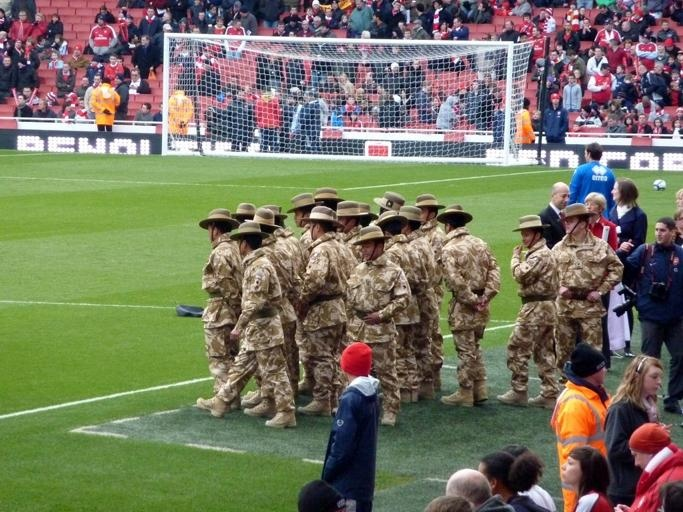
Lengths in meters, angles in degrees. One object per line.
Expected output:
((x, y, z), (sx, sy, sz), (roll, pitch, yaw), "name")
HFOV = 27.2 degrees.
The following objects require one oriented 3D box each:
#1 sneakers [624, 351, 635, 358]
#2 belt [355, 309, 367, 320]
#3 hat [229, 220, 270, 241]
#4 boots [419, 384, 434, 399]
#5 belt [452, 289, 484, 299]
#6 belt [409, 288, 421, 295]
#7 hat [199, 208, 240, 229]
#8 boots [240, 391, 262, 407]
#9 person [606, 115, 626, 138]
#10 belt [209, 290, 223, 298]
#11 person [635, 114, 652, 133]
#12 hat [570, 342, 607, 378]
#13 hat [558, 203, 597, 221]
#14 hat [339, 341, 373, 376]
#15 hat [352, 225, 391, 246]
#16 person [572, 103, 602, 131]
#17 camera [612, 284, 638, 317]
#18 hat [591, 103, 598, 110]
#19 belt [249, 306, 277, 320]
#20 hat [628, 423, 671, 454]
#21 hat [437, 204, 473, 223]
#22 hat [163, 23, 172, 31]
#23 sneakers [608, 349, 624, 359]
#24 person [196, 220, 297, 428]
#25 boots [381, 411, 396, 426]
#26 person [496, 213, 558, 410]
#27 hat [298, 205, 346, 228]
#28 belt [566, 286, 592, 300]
((4.619, 1.587, 22.615), (0.086, 0.062, 0.196), (-13, -6, -9), "sneakers")
((0.277, 0.823, 19.846), (0.148, 0.093, 0.137), (5, 8, 6), "belt")
((-1.278, -0.356, 19.655), (0.486, 0.256, 0.409), (0, 1, -4), "hat")
((1.245, 2.003, 20.875), (0.239, 0.196, 0.217), (2, -8, -21), "boots")
((1.837, 0.540, 20.523), (0.466, 0.116, 0.298), (0, 2, 4), "belt")
((1.094, 0.517, 20.678), (0.099, 0.060, 0.123), (3, 25, -4), "belt")
((-1.907, -0.578, 22.091), (0.533, 0.175, 0.544), (2, -12, -16), "hat")
((-1.285, 2.077, 20.501), (0.197, 0.121, 0.362), (5, 6, 43), "boots")
((7.416, -3.561, 38.071), (0.465, 0.636, 0.838), (1, 1, 12), "person")
((-1.798, 0.553, 20.264), (0.139, 0.091, 0.105), (3, -3, 27), "belt")
((8.169, -3.554, 37.995), (0.440, 0.544, 0.988), (1, 1, 11), "person")
((2.898, 1.237, 16.664), (0.398, 0.396, 0.199), (0, 1, 8), "hat")
((3.507, -0.645, 20.854), (0.437, 0.247, 0.528), (0, 1, 8), "hat")
((0.190, 1.221, 16.841), (0.398, 0.294, 0.302), (-6, 15, 31), "hat")
((0.393, -0.292, 19.714), (0.412, 0.273, 0.325), (0, 1, 1), "hat")
((6.970, -3.919, 39.847), (0.779, 0.766, 0.640), (1, 1, 12), "person")
((4.133, 0.662, 20.690), (0.438, 0.351, 0.159), (-24, 19, -21), "camera")
((7.170, -4.233, 39.914), (0.173, 0.234, 0.380), (1, 1, 15), "hat")
((-1.057, 0.789, 19.598), (0.252, 0.080, 0.177), (-23, 4, 5), "belt")
((3.488, 2.067, 16.070), (0.453, 0.271, 0.291), (-4, 11, 1), "hat")
((1.617, -0.677, 20.884), (0.349, 0.093, 0.334), (4, -12, -22), "hat")
((-5.813, -7.590, 46.876), (0.329, 0.147, 0.241), (-1, 7, 26), "hat")
((4.416, 1.595, 22.639), (0.269, 0.160, 0.084), (-4, 8, 10), "sneakers")
((-1.200, 0.952, 19.738), (1.135, 2.874, 0.797), (1, 1, 10), "person")
((0.664, 2.289, 19.859), (0.211, 0.177, 0.209), (-2, 2, -45), "boots")
((2.762, 0.812, 20.505), (0.779, 2.789, 0.332), (0, 1, 4), "person")
((-0.240, -0.558, 20.156), (0.431, 0.297, 0.294), (0, 1, -1), "hat")
((3.501, 0.548, 20.777), (0.212, 0.101, 0.249), (2, 4, -12), "belt")
